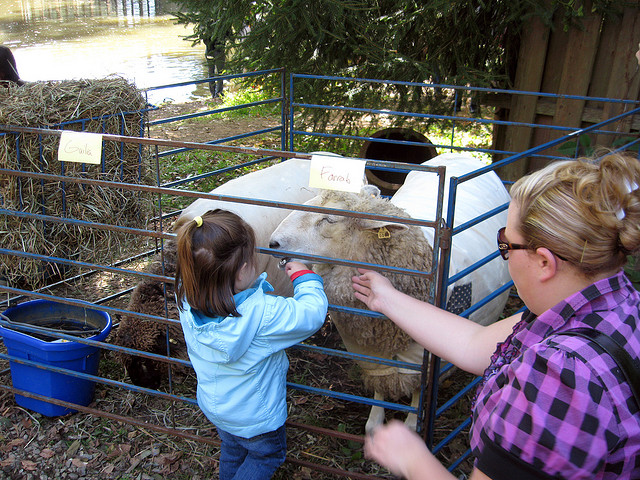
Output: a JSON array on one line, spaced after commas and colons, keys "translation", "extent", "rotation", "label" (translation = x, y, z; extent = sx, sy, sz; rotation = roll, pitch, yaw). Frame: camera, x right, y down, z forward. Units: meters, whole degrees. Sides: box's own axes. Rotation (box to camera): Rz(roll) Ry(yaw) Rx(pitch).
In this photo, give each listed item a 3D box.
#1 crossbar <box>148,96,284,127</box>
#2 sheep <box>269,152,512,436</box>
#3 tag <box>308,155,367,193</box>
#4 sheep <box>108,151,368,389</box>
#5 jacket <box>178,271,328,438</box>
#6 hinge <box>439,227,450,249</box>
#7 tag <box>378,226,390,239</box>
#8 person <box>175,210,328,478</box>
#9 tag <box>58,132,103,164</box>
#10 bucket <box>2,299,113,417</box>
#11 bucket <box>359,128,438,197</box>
[{"translation": [-1.126, -1.271, 5.373], "extent": [2.043, 0.075, 0.097], "rotation": [1, 18, 37], "label": "crossbar"}, {"translation": [0.561, 0.101, 3.924], "extent": [1.831, 1.888, 2.257], "rotation": [12, 20, 18], "label": "sheep"}, {"translation": [0.075, -0.303, 2.489], "extent": [0.307, 0.174, 0.024], "rotation": [9, 17, 22], "label": "tag"}, {"translation": [-0.657, 0.385, 4.511], "extent": [2.075, 1.889, 2.148], "rotation": [6, 24, 7], "label": "sheep"}, {"translation": [-0.319, 0.596, 2.708], "extent": [0.718, 0.798, 0.306], "rotation": [-4, 22, -13], "label": "jacket"}, {"translation": [0.585, -0.008, 2.489], "extent": [0.045, 0.106, 0.019], "rotation": [3, 22, 5], "label": "hinge"}, {"translation": [0.380, -0.047, 3.158], "extent": [0.108, 0.102, 0.014], "rotation": [2, 51, 10], "label": "tag"}, {"translation": [-0.328, 0.590, 2.691], "extent": [0.717, 1.505, 0.371], "rotation": [-4, 22, -12], "label": "person"}, {"translation": [-1.297, -0.493, 2.856], "extent": [0.295, 0.160, 0.028], "rotation": [9, 8, 19], "label": "tag"}, {"translation": [-1.849, 0.835, 3.676], "extent": [0.858, 0.610, 0.701], "rotation": [13, 13, 33], "label": "bucket"}, {"translation": [0.726, -0.895, 6.417], "extent": [1.011, 0.911, 0.815], "rotation": [-23, 35, -38], "label": "bucket"}]
